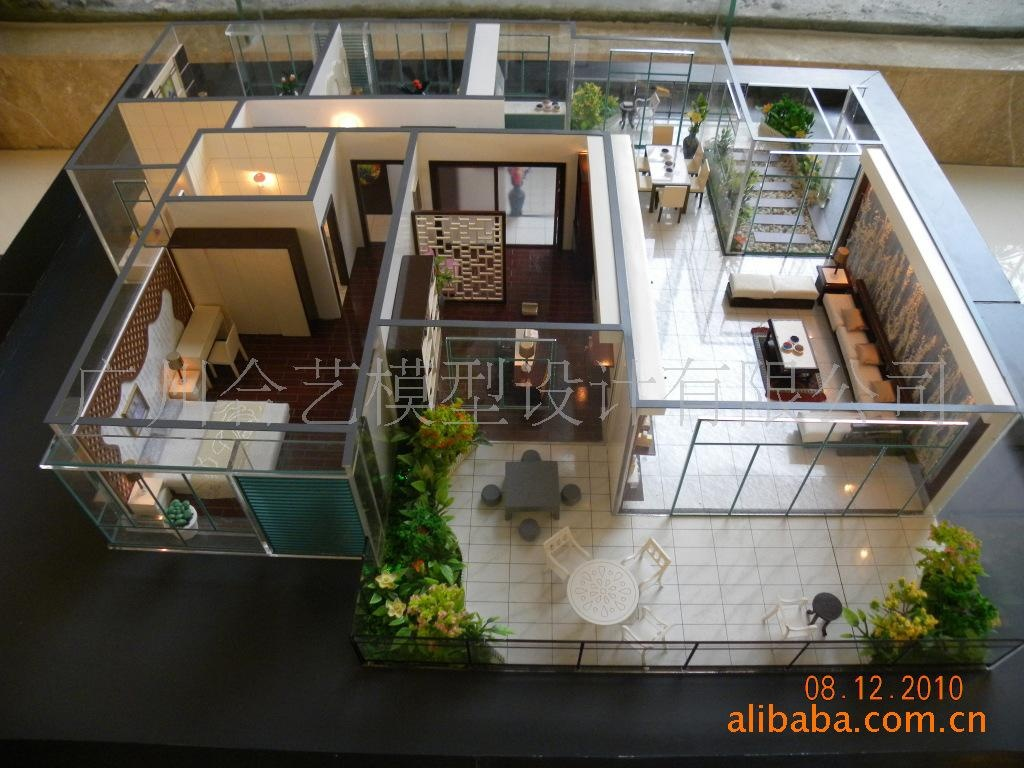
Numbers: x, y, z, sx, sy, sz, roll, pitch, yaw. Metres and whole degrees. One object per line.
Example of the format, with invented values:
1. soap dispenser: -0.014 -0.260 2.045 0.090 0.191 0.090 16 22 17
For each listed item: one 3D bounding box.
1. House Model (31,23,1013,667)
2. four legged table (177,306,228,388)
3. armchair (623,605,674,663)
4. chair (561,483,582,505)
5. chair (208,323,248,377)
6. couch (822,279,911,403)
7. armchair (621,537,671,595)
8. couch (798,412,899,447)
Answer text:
1. House Model: 1.224 -2.354 18.224 21.652 6.108 15.934 -2 45 1
2. four legged table: -7.037 -0.792 17.941 0.576 0.978 2.038 1 59 -2
3. armchair: 2.493 4.703 14.756 0.615 0.804 0.592 -44 88 -10
4. chair: 1.211 2.279 16.316 0.403 0.201 0.410 2 53 2
5. chair: -6.582 -0.747 18.517 1.018 1.435 1.017 0 77 -6
6. couch: 8.241 -0.911 18.378 1.133 1.113 4.240 -11 63 11
7. armchair: 2.541 3.647 15.535 0.862 1.024 0.825 -3 50 -4
8. couch: 6.326 0.841 15.291 1.910 0.735 0.641 -1 96 -1
